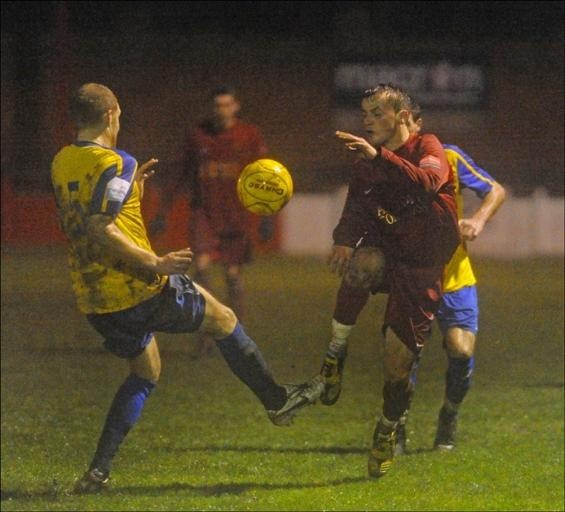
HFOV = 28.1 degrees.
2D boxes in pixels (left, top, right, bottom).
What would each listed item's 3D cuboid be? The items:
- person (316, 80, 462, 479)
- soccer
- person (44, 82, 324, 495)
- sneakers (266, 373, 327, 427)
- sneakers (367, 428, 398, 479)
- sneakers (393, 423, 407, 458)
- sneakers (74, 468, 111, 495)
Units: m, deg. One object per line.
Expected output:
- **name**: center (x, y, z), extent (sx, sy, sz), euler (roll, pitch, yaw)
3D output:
- **person**: center (0.469, 0.121, 4.876), extent (0.558, 1.693, 0.448), euler (6, 9, 2)
- **soccer**: center (-0.032, -0.314, 4.975), extent (0.262, 0.269, 0.225), euler (-2, 22, 5)
- **person**: center (-0.522, 0.188, 4.740), extent (0.973, 1.745, 0.541), euler (5, 9, -4)
- **sneakers**: center (0.067, 0.657, 5.064), extent (0.179, 0.255, 0.129), euler (45, -4, 33)
- **sneakers**: center (0.443, 0.843, 4.949), extent (0.092, 0.251, 0.110), euler (8, 0, 15)
- **sneakers**: center (0.527, 0.821, 5.025), extent (0.063, 0.126, 0.137), euler (-2, -5, 10)
- **sneakers**: center (-0.823, 0.979, 4.873), extent (0.148, 0.110, 0.057), euler (-28, 13, 6)
